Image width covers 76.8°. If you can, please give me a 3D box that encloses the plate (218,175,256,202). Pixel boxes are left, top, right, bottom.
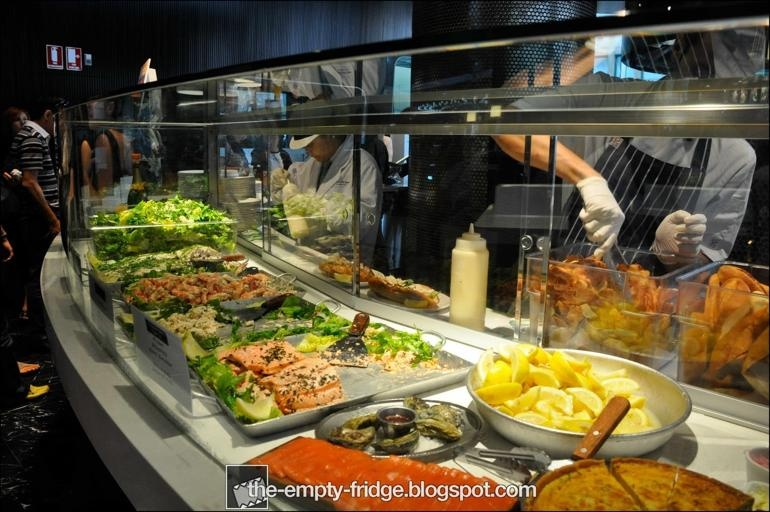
[{"bbox_3d":[-0.721,-0.331,2.366,0.145,0.067,0.139,0,3,5],"label":"plate"}]

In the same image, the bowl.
[{"bbox_3d":[0.536,0.387,1.263,0.463,0.103,0.457,-1,11,0],"label":"bowl"}]

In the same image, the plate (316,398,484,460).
[{"bbox_3d":[0.061,0.441,1.232,0.254,0.032,0.174,0,16,-7],"label":"plate"}]

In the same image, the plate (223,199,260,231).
[{"bbox_3d":[-0.711,-0.219,2.419,0.159,0.105,0.156,-9,21,-40],"label":"plate"}]

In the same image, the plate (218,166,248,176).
[{"bbox_3d":[-0.724,-0.409,2.334,0.132,0.049,0.033,1,15,4],"label":"plate"}]

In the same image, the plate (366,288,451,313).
[{"bbox_3d":[0.080,0.174,1.925,0.347,0.053,0.127,6,16,22],"label":"plate"}]

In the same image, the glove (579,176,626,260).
[{"bbox_3d":[0.696,-0.127,1.570,0.077,0.233,0.185,-16,14,-21],"label":"glove"}]

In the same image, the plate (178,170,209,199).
[{"bbox_3d":[-0.866,-0.331,2.213,0.141,0.115,0.125,0,8,-12],"label":"plate"}]

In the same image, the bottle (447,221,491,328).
[{"bbox_3d":[0.302,0.066,1.736,0.138,0.367,0.185,2,16,9],"label":"bottle"}]

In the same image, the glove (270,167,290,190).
[{"bbox_3d":[-0.510,-0.376,2.345,0.075,0.108,0.115,0,3,-8],"label":"glove"}]
